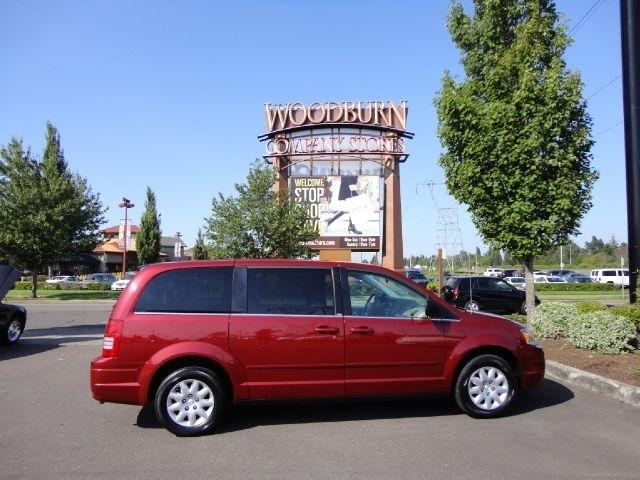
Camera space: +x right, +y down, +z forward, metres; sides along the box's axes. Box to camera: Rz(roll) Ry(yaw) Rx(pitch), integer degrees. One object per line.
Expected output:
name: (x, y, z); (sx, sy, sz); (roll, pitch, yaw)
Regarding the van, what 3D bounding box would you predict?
van: (0.105, 1.391, 7.600); (6.435, 2.274, 2.087); (0, 0, -5)
